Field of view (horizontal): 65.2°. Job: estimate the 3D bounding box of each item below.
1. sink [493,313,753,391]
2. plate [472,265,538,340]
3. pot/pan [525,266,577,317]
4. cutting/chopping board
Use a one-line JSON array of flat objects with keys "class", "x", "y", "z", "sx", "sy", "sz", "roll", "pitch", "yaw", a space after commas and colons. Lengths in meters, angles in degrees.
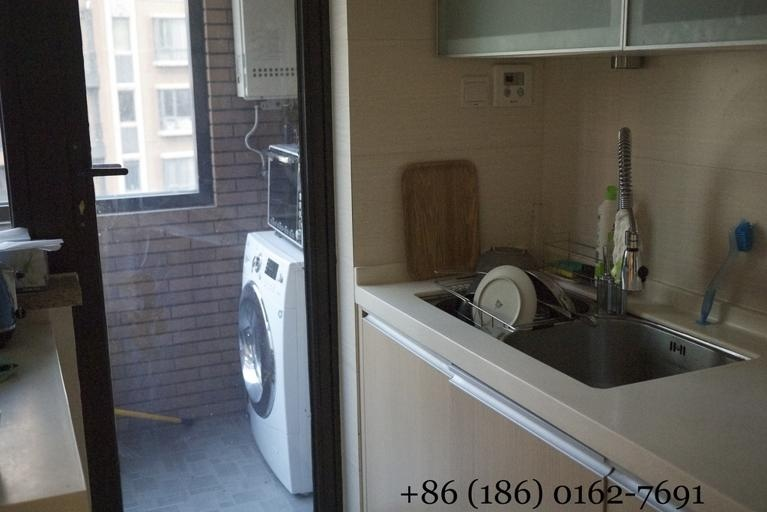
[{"class": "sink", "x": 0.711, "y": 0.274, "z": 1.756, "sx": 0.548, "sy": 0.145, "sz": 0.468, "roll": -5, "pitch": 11, "yaw": -25}, {"class": "plate", "x": 0.396, "y": 0.137, "z": 1.946, "sx": 0.164, "sy": 0.211, "sz": 0.209, "roll": -5, "pitch": 19, "yaw": -24}, {"class": "pot/pan", "x": 0.543, "y": 0.109, "z": 1.980, "sx": 0.145, "sy": 0.137, "sz": 0.173, "roll": -2, "pitch": 19, "yaw": -16}, {"class": "cutting/chopping board", "x": 0.217, "y": -0.136, "z": 2.240, "sx": 0.300, "sy": 0.415, "sz": 0.091, "roll": -10, "pitch": 16, "yaw": -24}]
